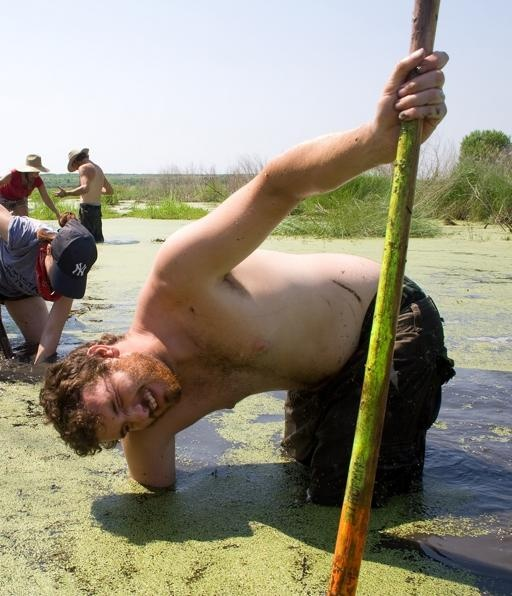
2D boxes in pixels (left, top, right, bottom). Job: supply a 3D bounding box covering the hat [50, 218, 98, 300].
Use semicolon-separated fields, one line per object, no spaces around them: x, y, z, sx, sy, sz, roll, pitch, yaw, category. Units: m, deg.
-1.098;-0.222;3.668;0.316;0.407;0.296;11;-23;-41;hat
